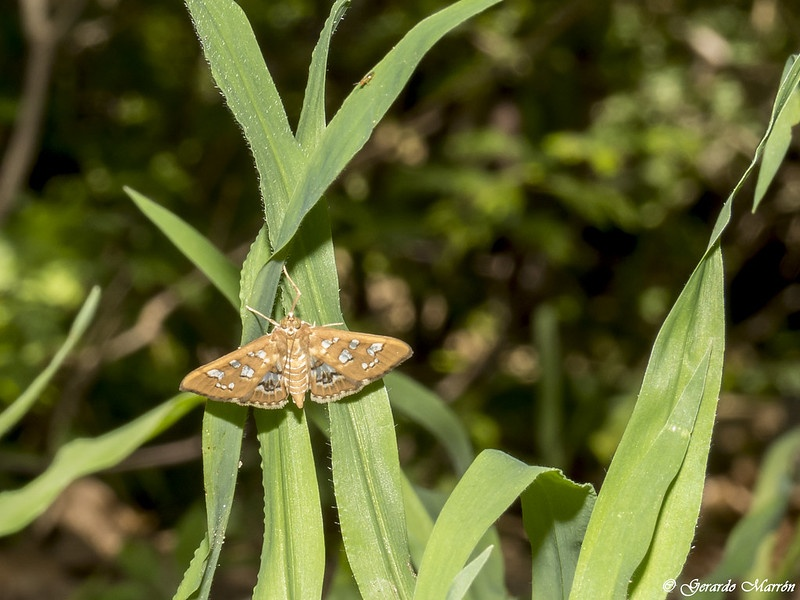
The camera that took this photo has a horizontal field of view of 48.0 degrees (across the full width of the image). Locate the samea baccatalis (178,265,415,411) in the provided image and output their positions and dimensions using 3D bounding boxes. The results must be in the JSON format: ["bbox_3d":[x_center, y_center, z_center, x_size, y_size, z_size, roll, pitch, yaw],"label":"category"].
[{"bbox_3d":[-0.164,0.054,1.367,0.302,0.236,0.077,-6,-14,0],"label":"samea baccatalis"}]
